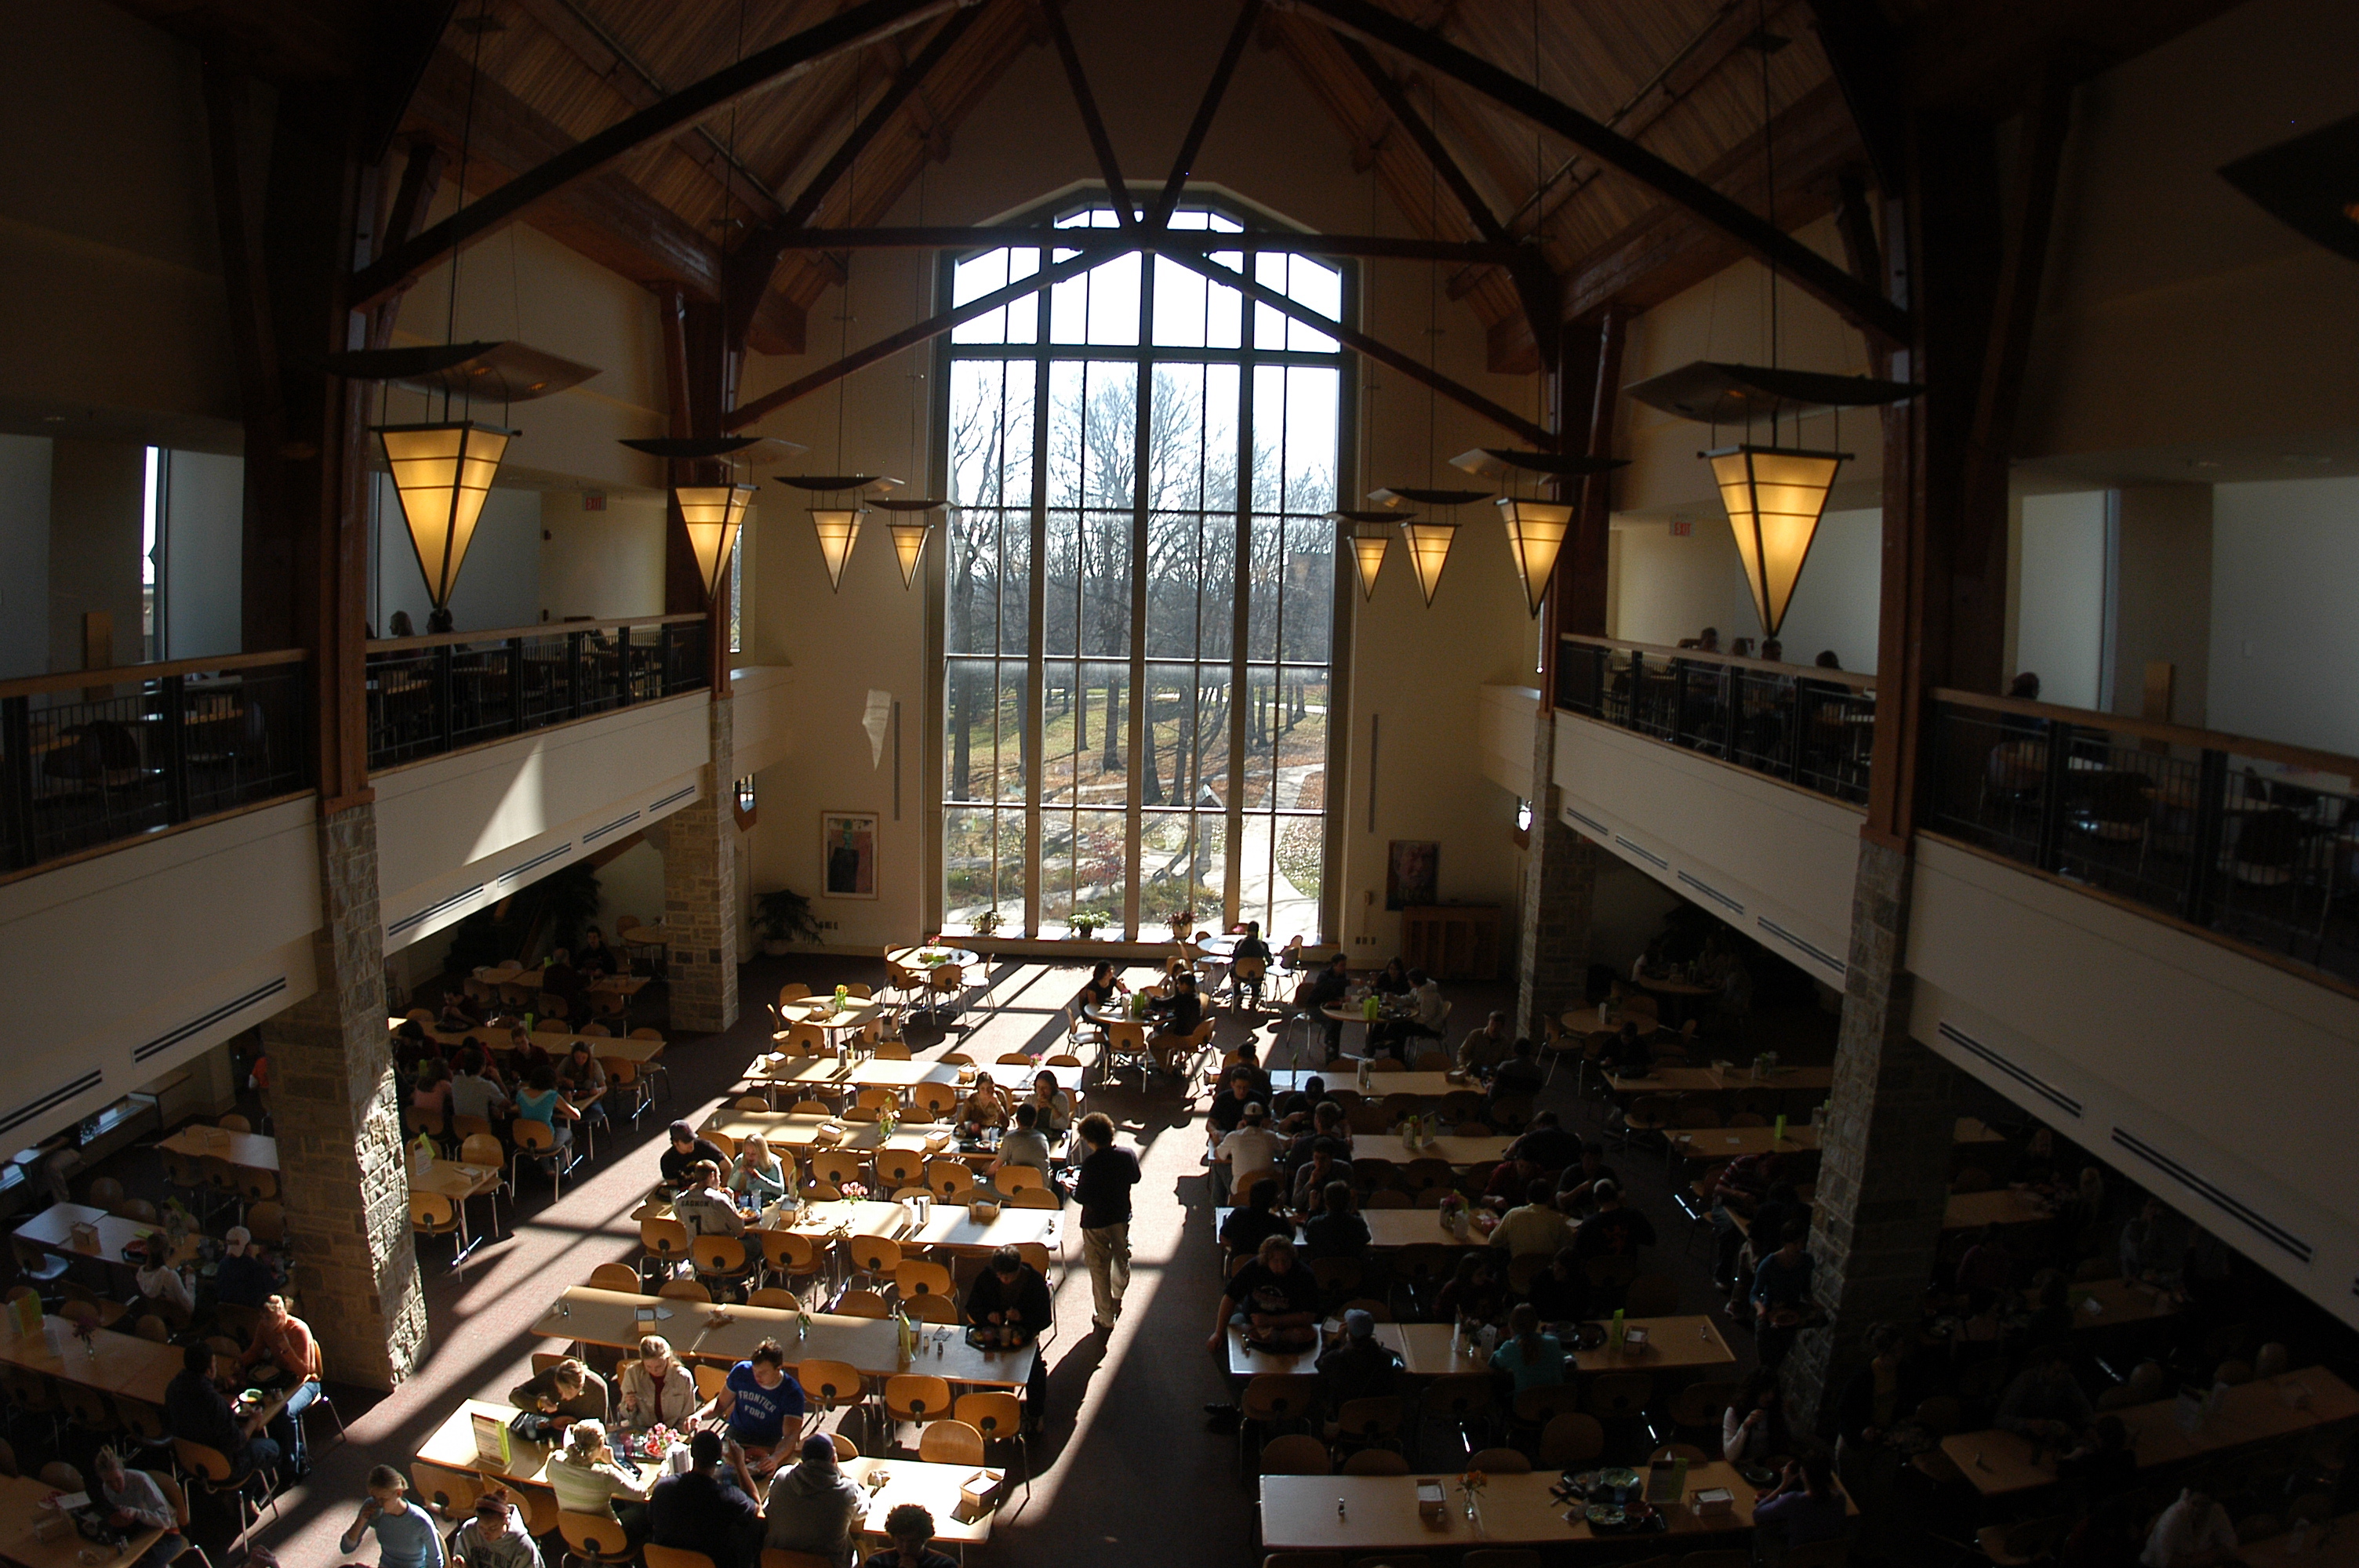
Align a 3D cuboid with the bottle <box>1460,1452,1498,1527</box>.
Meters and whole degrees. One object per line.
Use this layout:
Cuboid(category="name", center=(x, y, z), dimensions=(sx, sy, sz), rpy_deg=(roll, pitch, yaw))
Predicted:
Cuboid(category="bottle", center=(2.206, 5.131, 11.744), dimensions=(0.220, 0.357, 0.136), rpy_deg=(1, -20, 13))
